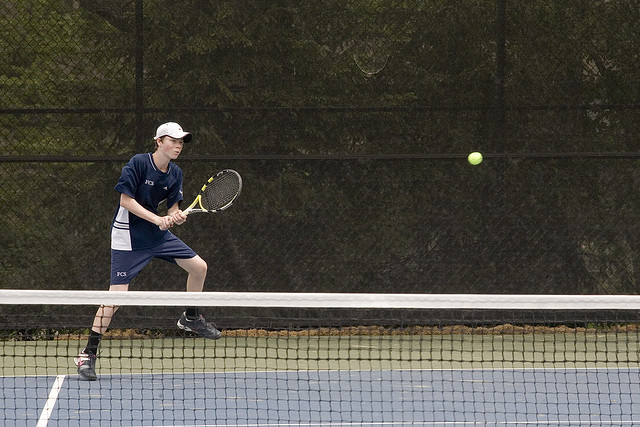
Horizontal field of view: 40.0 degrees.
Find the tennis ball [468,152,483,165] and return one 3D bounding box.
[{"bbox_3d":[1.465,-0.514,8.309,0.142,0.115,0.098,2,2,2],"label":"tennis ball"}]

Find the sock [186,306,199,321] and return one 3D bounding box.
[{"bbox_3d":[-1.126,0.865,7.681,0.082,0.094,0.093,2,-13,-7],"label":"sock"}]

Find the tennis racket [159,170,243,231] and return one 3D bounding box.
[{"bbox_3d":[-1.064,-0.135,7.441,0.062,0.493,1.231,35,29,20],"label":"tennis racket"}]

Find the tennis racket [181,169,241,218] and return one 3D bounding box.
[{"bbox_3d":[-0.902,-0.178,7.739,0.684,0.281,0.036,-39,-38,22],"label":"tennis racket"}]

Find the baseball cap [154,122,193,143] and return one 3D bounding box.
[{"bbox_3d":[-1.223,-0.652,7.361,0.233,0.125,0.157,-9,0,21],"label":"baseball cap"}]
